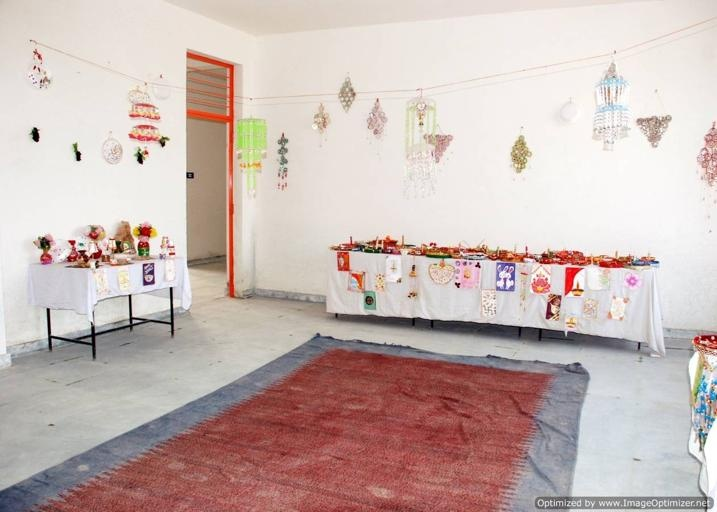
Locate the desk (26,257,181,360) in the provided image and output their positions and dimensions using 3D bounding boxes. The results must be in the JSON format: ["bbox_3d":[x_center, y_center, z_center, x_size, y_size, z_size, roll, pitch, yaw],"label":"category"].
[{"bbox_3d":[-3.184,0.597,6.357,1.078,1.125,1.726,2,5,22],"label":"desk"}]

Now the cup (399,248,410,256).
[{"bbox_3d":[0.666,-0.056,7.023,0.098,0.064,0.100,0,10,0],"label":"cup"}]
